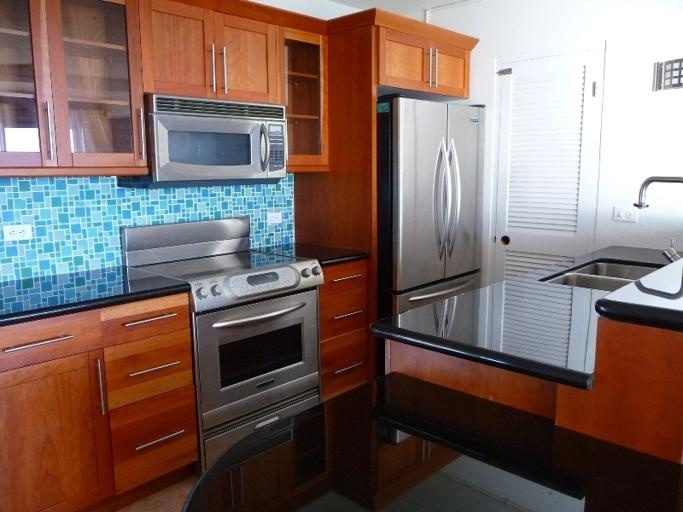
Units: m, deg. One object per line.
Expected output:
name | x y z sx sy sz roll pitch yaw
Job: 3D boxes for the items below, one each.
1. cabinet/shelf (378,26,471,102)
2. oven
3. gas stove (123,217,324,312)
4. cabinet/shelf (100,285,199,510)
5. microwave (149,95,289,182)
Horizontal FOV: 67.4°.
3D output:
cabinet/shelf | 0.557 -1.312 3.555 0.932 0.352 0.181 -7 11 -40
oven | -0.586 0.670 3.006 0.859 0.792 0.558 -7 6 -40
gas stove | -0.710 0.031 2.937 0.701 0.278 0.700 12 16 42
cabinet/shelf | -1.017 0.651 2.612 0.537 0.933 0.530 10 17 31
microwave | -0.714 -0.660 2.962 0.808 0.432 0.282 -8 16 -37
